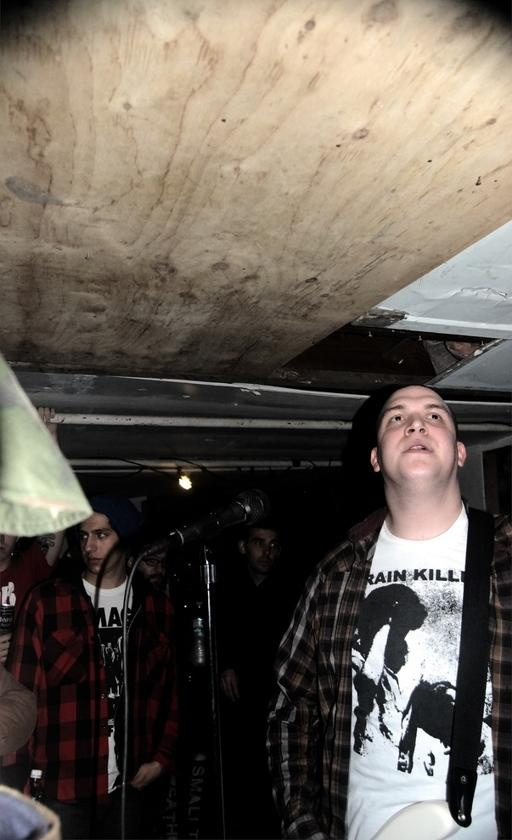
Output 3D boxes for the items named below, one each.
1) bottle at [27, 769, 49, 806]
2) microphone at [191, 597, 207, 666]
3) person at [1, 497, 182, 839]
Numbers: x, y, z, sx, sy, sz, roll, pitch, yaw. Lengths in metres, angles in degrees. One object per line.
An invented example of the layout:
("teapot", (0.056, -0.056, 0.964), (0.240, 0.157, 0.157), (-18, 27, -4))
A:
("bottle", (-0.752, 1.270, 2.165), (0.057, 0.113, 0.107), (0, -16, -20))
("microphone", (-0.174, 0.677, 1.932), (0.035, 0.136, 0.036), (-25, -37, 28))
("person", (-0.611, 0.998, 2.539), (0.433, 1.405, 0.681), (-10, -16, 16))
